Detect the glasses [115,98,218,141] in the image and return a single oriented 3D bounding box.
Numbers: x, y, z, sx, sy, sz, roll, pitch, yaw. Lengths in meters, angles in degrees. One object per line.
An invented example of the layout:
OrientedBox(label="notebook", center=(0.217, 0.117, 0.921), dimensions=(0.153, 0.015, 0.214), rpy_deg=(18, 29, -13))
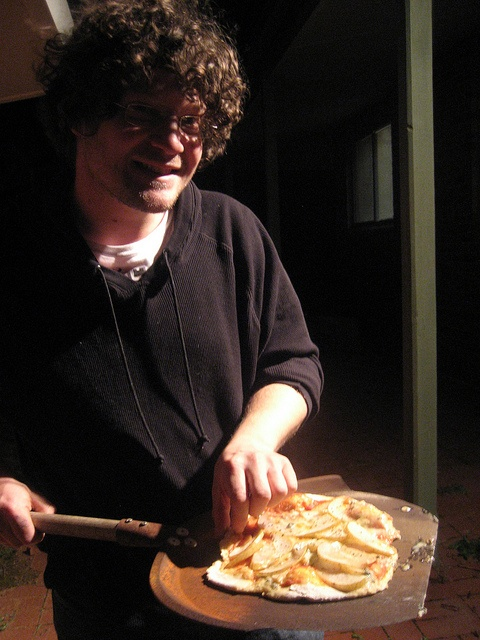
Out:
OrientedBox(label="glasses", center=(-0.139, -0.370, 1.132), dimensions=(0.172, 0.081, 0.056), rpy_deg=(-17, 15, -38))
